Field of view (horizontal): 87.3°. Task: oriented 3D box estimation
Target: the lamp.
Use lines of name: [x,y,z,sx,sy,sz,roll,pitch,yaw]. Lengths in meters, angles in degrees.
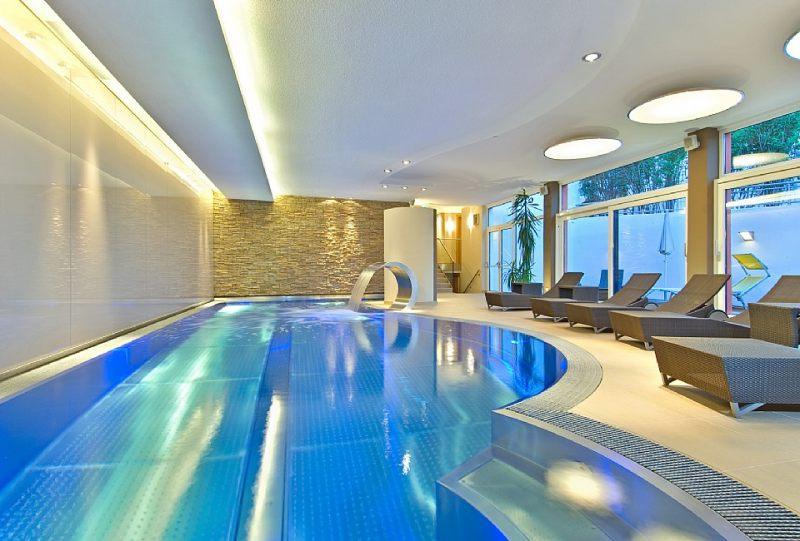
lamp: [4.012,-2.413,7.068,1.263,0.600,2.695,-7,10,-22]
